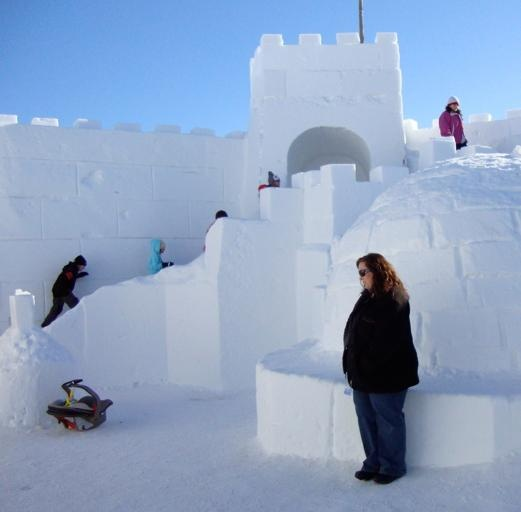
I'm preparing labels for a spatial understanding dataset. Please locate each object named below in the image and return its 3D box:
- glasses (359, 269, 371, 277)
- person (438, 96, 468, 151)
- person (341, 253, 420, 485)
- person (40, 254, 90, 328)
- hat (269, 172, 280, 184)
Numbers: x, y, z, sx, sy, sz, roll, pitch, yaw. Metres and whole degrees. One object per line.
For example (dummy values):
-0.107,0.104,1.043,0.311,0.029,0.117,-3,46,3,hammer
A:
0.579,0.094,2.965,0.033,0.033,0.038,-4,9,-20,glasses
2.765,-1.859,7.572,0.337,0.813,0.623,-4,-4,23,person
0.662,0.614,2.921,0.402,1.262,0.223,-3,-4,11,person
-2.899,0.504,7.762,0.688,1.055,0.499,-1,-4,-27,person
0.194,-1.211,8.173,0.115,0.247,0.218,-1,2,-6,hat
